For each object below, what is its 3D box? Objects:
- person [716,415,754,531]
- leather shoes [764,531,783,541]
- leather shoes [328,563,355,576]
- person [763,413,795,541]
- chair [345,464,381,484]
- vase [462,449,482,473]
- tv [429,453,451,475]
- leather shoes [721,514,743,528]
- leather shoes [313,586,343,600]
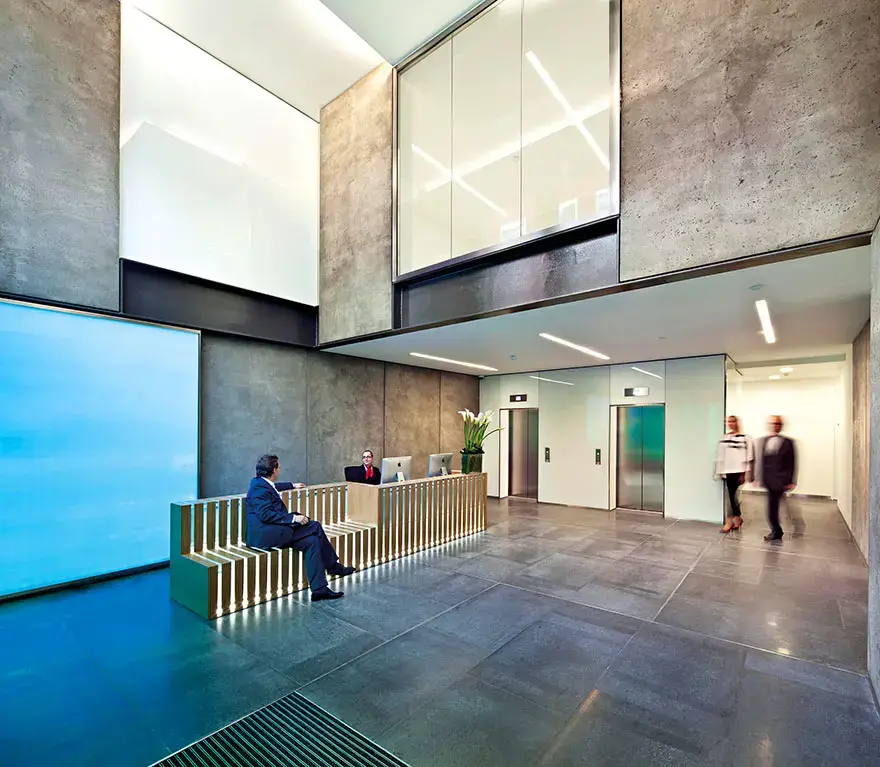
[{"bbox_3d":[4.880,1.485,10.029,0.531,1.944,0.581,5,11,28],"label":"person"},{"bbox_3d":[5.210,2.362,9.365,0.351,0.177,0.129,6,-8,-15],"label":"leather shoes"},{"bbox_3d":[-1.160,2.240,7.257,0.346,0.178,0.127,1,-5,-11],"label":"leather shoes"},{"bbox_3d":[5.229,1.506,9.401,0.485,2.000,0.935,5,11,29],"label":"person"},{"bbox_3d":[-1.096,1.307,8.702,0.312,0.437,0.282,-6,-10,44],"label":"chair"},{"bbox_3d":[0.543,1.265,9.968,0.290,0.277,0.356,-1,-2,17],"label":"vase"},{"bbox_3d":[0.004,1.268,9.582,0.232,0.350,0.463,-2,-5,30],"label":"tv"},{"bbox_3d":[4.938,2.356,10.225,0.187,0.275,0.632,-14,-23,38],"label":"leather shoes"},{"bbox_3d":[-1.268,2.371,6.884,0.341,0.173,0.125,2,-5,-12],"label":"leather shoes"}]
